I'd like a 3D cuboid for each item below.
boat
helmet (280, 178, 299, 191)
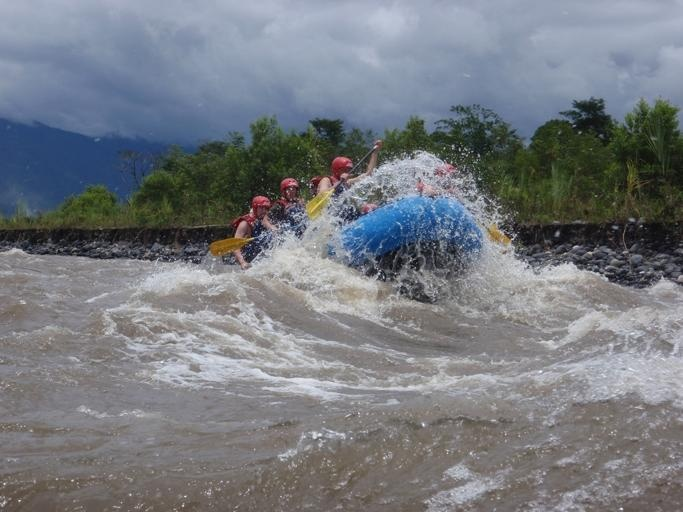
[{"bbox_3d":[0.598,-0.074,11.683,1.960,0.679,1.091,-12,-43,45],"label":"boat"},{"bbox_3d":[-0.821,-1.095,13.824,0.228,0.219,0.292,-8,-28,-16],"label":"helmet"}]
